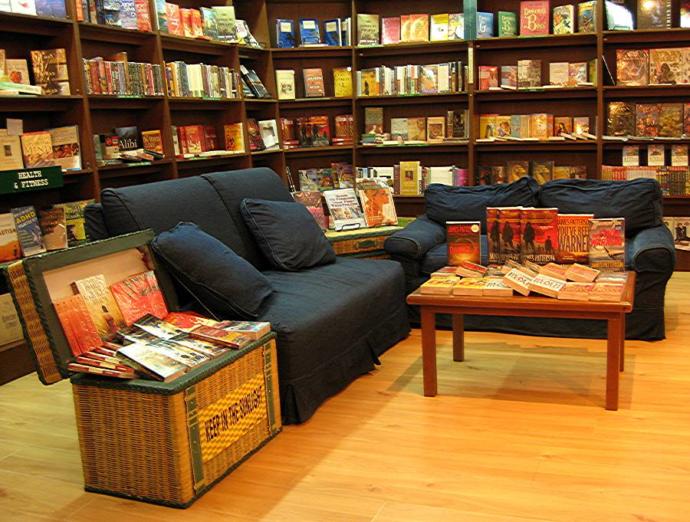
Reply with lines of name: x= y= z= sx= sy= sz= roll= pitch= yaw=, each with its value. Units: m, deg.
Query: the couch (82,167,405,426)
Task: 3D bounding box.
couch: x=-0.809 y=-0.032 z=3.501 sx=1.980 sy=1.192 sz=2.157 roll=3 pitch=12 yaw=23

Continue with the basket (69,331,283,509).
basket: x=-0.888 y=0.632 z=2.461 sx=0.844 sy=0.486 sz=0.995 roll=1 pitch=9 yaw=22

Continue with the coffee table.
coffee table: x=1.049 y=0.222 z=3.023 sx=1.427 sy=0.494 sz=0.895 roll=1 pitch=6 yaw=20
